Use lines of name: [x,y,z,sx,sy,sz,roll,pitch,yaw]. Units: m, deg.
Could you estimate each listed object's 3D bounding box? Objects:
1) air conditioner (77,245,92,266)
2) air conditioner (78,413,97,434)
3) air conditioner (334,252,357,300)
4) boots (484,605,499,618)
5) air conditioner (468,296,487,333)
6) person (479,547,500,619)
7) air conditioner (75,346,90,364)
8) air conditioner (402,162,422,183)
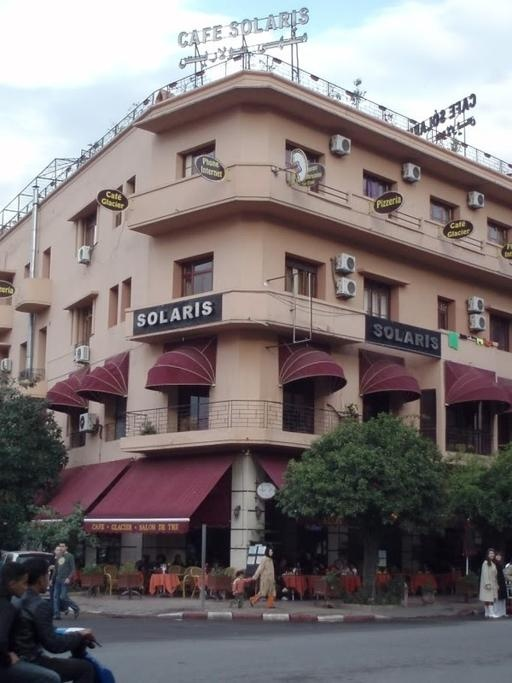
air conditioner: [-6.566,-3.208,43.918,0.531,0.966,0.705,7,-14,-27]
air conditioner: [-6.018,2.952,41.202,0.387,0.649,0.699,9,-17,-27]
air conditioner: [2.898,-2.065,37.381,0.557,1.877,1.155,-8,-18,32]
boots: [5.509,6.298,26.862,0.316,0.375,0.302,3,-9,-13]
air conditioner: [8.242,-0.945,42.721,0.554,1.581,1.030,-11,-19,37]
person: [5.586,5.759,27.442,0.418,1.687,1.518,-2,-17,11]
air conditioner: [-6.438,0.490,42.631,0.538,0.706,0.710,6,-17,-17]
air conditioner: [5.525,-5.945,40.736,0.409,0.635,0.710,-9,-10,41]
